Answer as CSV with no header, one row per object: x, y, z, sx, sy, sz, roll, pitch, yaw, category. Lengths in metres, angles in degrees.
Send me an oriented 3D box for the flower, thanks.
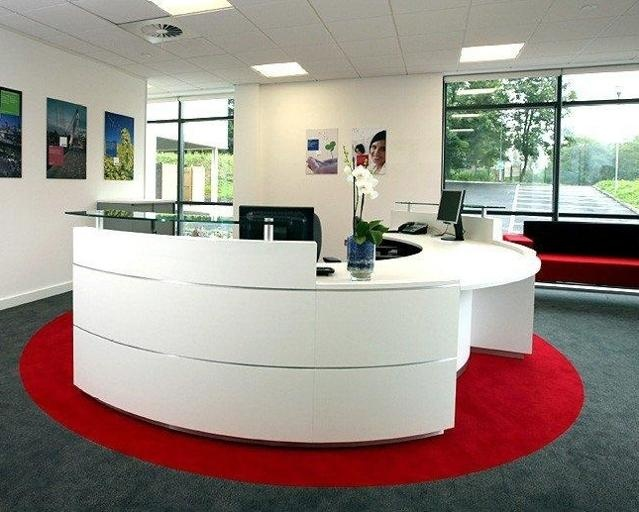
0.298,-0.369,3.155,0.221,0.598,0.223,-1,7,28,flower

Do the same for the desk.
-0.385,0.524,3.168,2.753,1.313,0.477,2,11,8,desk

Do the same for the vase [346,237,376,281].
0.264,0.014,3.047,0.184,0.275,0.147,0,11,-2,vase
